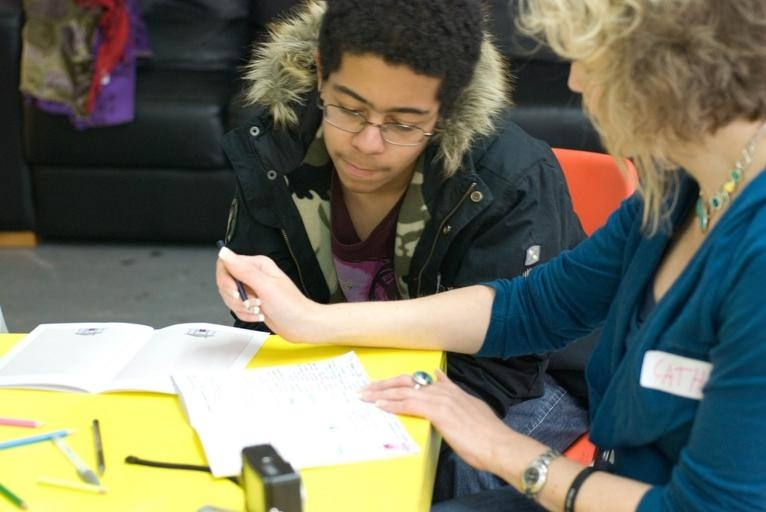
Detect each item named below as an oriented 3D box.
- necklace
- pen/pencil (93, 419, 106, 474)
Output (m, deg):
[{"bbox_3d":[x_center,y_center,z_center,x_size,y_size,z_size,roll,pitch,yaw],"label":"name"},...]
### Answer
[{"bbox_3d":[0.584,-0.128,1.136,0.029,0.138,0.093,25,14,-11],"label":"necklace"},{"bbox_3d":[-0.480,0.325,1.137,0.012,0.012,0.101,0,35,-16],"label":"pen/pencil"}]
